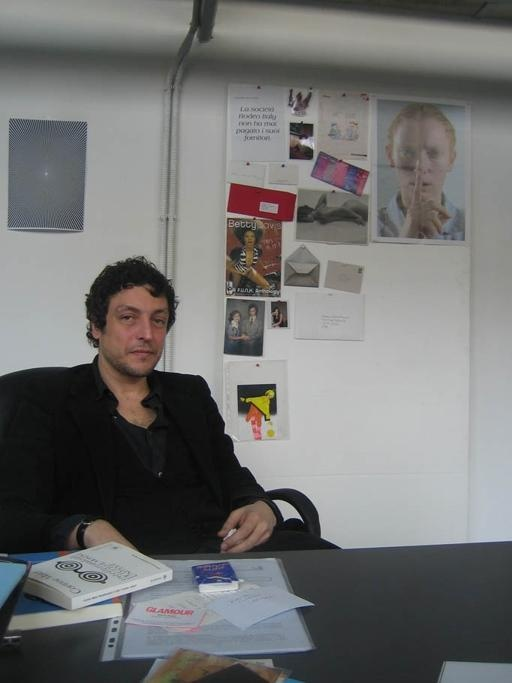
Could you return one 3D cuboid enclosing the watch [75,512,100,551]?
[{"bbox_3d":[-0.320,0.363,1.229,0.025,0.085,0.085,2,-37,-12],"label":"watch"}]
